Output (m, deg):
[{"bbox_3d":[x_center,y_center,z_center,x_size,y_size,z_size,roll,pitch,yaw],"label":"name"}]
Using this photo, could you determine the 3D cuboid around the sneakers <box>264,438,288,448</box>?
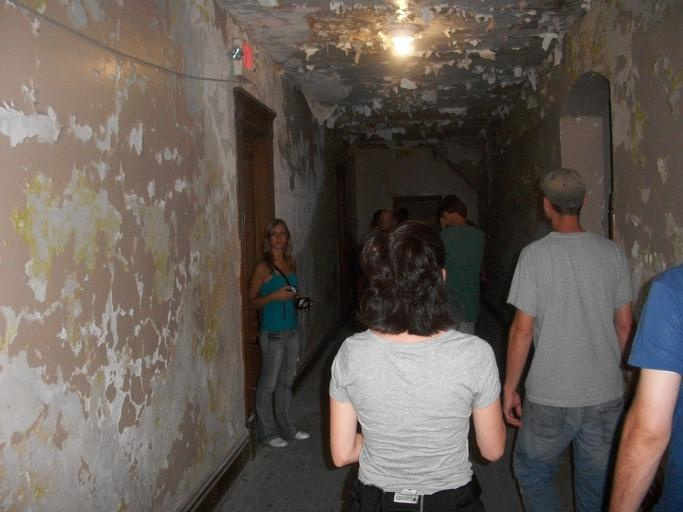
[{"bbox_3d":[-0.501,1.436,4.079,0.125,0.057,0.080,-1,1,8],"label":"sneakers"}]

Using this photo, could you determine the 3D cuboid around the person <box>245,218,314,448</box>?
[{"bbox_3d":[-0.478,0.593,4.075,0.424,1.763,0.510,-2,-1,-7],"label":"person"}]

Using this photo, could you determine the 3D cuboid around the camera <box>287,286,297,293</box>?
[{"bbox_3d":[-0.359,0.244,3.875,0.072,0.037,0.027,-1,-2,-37],"label":"camera"}]
